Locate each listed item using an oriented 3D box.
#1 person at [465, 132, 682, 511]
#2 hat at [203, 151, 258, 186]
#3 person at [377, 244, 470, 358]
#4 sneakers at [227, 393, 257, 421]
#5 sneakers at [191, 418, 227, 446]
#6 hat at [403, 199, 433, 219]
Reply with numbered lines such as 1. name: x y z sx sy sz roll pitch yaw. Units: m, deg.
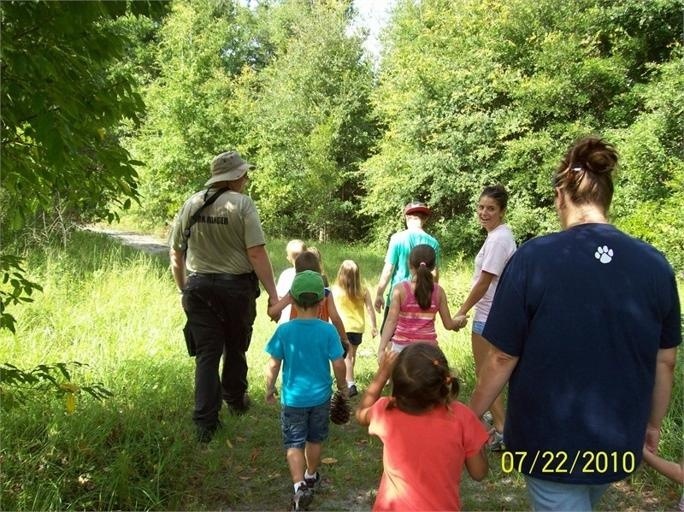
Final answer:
1. person: 1.380 0.433 3.259 1.069 2.051 0.383 14 6 16
2. hat: -1.087 -0.819 5.400 0.331 0.192 0.380 4 29 37
3. person: 0.966 0.556 6.606 0.947 1.960 0.755 13 42 12
4. sneakers: -1.028 1.558 5.897 0.098 0.230 0.310 6 13 15
5. sneakers: -1.223 1.609 5.185 0.127 0.166 0.379 1 -17 11
6. hat: 0.844 -0.538 6.568 0.202 0.167 0.282 3 -31 -6
